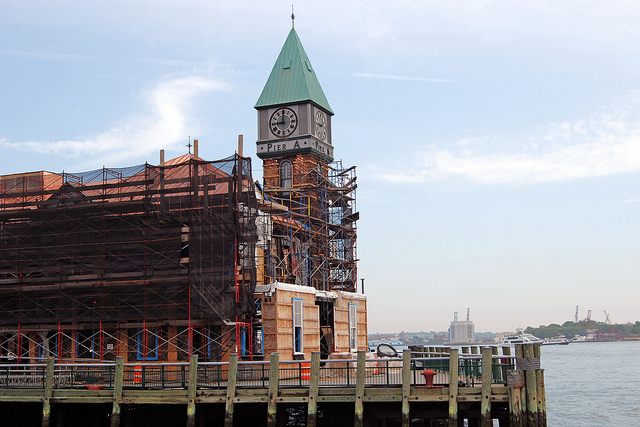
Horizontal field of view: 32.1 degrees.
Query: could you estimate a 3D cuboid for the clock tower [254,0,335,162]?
[{"bbox_3d":[-2.865,-13.149,115.684,6.070,16.013,4.810,-8,-14,24],"label":"clock tower"}]
